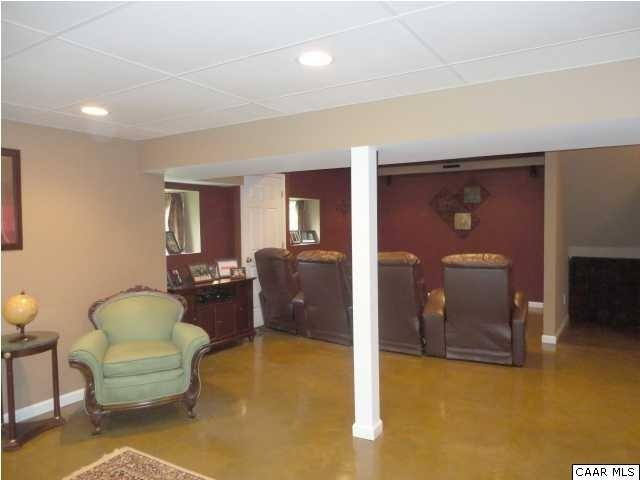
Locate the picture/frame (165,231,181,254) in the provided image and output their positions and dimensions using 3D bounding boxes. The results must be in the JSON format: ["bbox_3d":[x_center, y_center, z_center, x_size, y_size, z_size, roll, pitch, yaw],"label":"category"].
[{"bbox_3d":[-2.023,0.043,6.391,0.027,0.266,0.258,-18,16,13],"label":"picture/frame"}]

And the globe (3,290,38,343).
[{"bbox_3d":[-2.568,0.654,4.005,0.256,0.392,0.211,3,8,37],"label":"globe"}]
